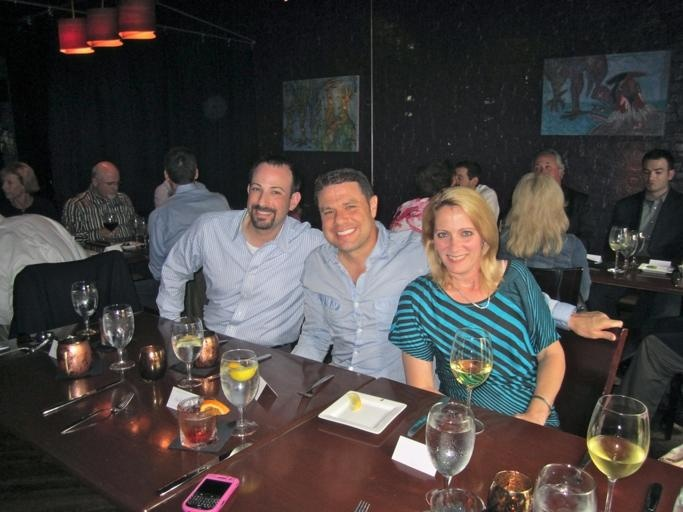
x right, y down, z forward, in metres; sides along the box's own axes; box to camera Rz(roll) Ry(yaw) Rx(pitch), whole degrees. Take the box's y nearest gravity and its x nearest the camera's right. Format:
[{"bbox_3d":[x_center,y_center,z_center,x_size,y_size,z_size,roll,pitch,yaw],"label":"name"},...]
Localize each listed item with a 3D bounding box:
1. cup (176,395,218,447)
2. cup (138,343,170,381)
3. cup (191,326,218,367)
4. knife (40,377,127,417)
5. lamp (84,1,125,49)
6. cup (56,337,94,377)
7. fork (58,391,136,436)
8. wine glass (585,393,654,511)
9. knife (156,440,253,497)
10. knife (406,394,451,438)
[{"bbox_3d":[-0.458,0.519,1.674,0.112,0.127,0.124,2,-1,-27],"label":"cup"},{"bbox_3d":[-0.688,0.382,1.937,0.113,0.120,0.113,1,-1,0],"label":"cup"},{"bbox_3d":[-0.508,0.347,2.029,0.107,0.121,0.113,2,4,0],"label":"cup"},{"bbox_3d":[-0.905,0.497,1.844,0.027,0.018,0.251,11,15,28],"label":"knife"},{"bbox_3d":[-1.984,-1.942,4.491,0.325,0.380,0.346,-1,20,-15],"label":"lamp"},{"bbox_3d":[-0.998,0.366,1.983,0.132,0.142,0.128,3,-1,0],"label":"cup"},{"bbox_3d":[-0.782,0.507,1.801,0.057,0.053,0.352,9,18,28],"label":"fork"},{"bbox_3d":[0.763,0.528,1.458,0.146,0.256,0.251,6,14,32],"label":"wine glass"},{"bbox_3d":[-0.398,0.618,1.526,0.033,0.008,0.341,12,17,33],"label":"knife"},{"bbox_3d":[0.300,0.479,1.760,0.052,0.027,0.373,6,17,29],"label":"knife"}]
